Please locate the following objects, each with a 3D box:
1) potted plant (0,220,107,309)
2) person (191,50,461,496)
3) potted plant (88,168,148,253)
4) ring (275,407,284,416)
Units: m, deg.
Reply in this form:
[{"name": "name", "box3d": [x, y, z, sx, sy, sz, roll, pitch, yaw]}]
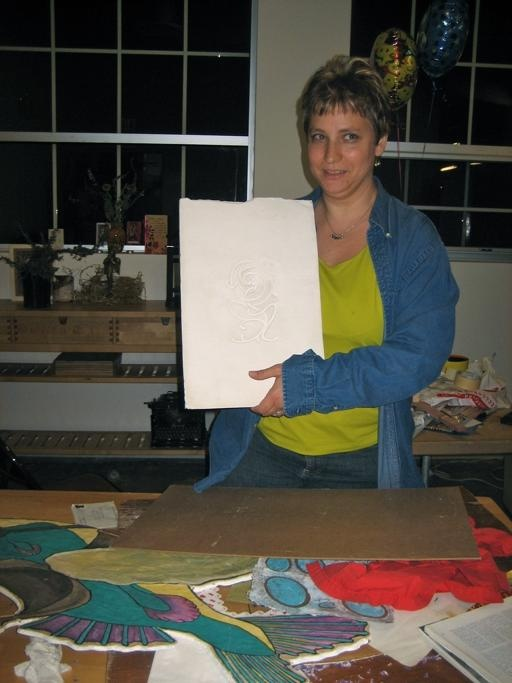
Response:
[{"name": "potted plant", "box3d": [-1.075, -0.402, 3.329, 0.509, 0.401, 0.507, 7, 11, 38]}, {"name": "person", "box3d": [0.129, -0.122, 1.273, 0.474, 0.874, 0.413, 0, 9, -4]}, {"name": "potted plant", "box3d": [-0.754, -0.728, 3.427, 0.307, 0.464, 0.565, -2, 9, -14]}, {"name": "ring", "box3d": [0.045, 0.129, 1.163, 0.013, 0.011, 0.016, -1, 9, 6]}]
